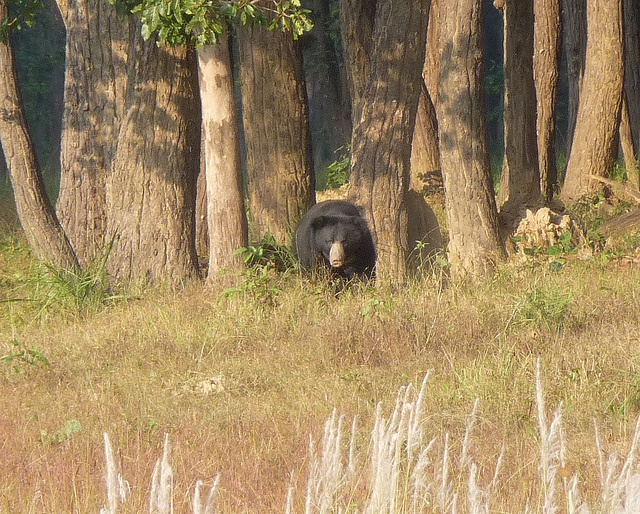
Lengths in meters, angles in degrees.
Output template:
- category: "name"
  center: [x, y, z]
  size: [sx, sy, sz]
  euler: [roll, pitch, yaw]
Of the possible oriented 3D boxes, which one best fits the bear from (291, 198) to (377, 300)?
- category: "bear"
  center: [0.213, -0.332, 22.475]
  size: [0.923, 1.450, 2.107]
  euler: [2, 15, -11]
